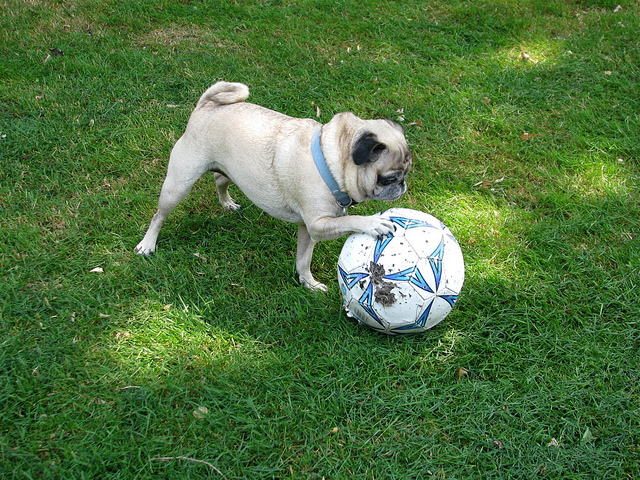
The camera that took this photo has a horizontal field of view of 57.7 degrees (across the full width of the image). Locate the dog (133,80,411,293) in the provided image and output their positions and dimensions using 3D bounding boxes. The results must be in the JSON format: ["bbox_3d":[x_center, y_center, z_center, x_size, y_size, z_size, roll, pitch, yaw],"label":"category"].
[{"bbox_3d":[-0.207,-0.786,5.978,2.816,1.844,1.556,13,48,3],"label":"dog"}]
